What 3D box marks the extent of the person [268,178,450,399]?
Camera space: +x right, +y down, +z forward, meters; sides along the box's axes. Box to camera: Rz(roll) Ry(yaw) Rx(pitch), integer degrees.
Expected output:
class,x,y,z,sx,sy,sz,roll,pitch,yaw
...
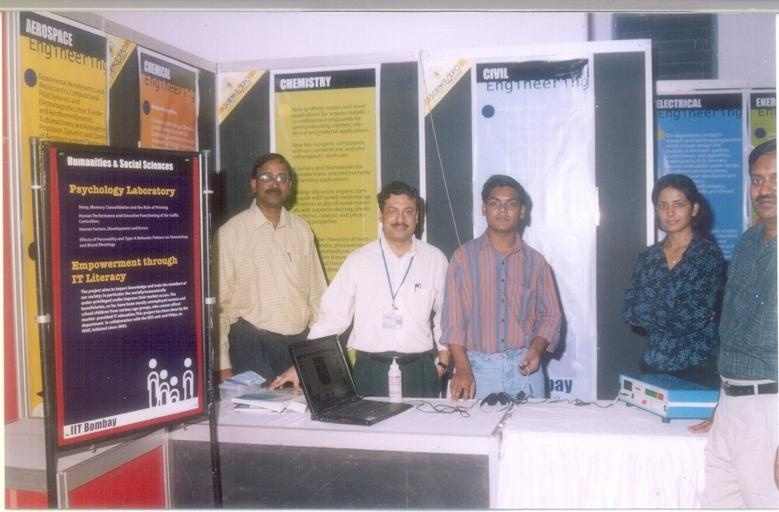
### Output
class,x,y,z,sx,sy,sz,roll,pitch,yaw
person,-0.173,0.226,4.824,1.423,1.787,0.710,2,-4,4

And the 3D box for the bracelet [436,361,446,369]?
class,x,y,z,sx,sy,sz,roll,pitch,yaw
bracelet,0.327,0.698,4.788,0.038,0.015,0.040,16,8,13

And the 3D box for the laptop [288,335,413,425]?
class,x,y,z,sx,sy,sz,roll,pitch,yaw
laptop,-0.230,0.702,4.244,0.521,0.354,0.524,-4,1,27

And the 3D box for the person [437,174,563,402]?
class,x,y,z,sx,sy,sz,roll,pitch,yaw
person,0.694,0.192,4.633,0.792,1.140,0.502,-3,1,4
